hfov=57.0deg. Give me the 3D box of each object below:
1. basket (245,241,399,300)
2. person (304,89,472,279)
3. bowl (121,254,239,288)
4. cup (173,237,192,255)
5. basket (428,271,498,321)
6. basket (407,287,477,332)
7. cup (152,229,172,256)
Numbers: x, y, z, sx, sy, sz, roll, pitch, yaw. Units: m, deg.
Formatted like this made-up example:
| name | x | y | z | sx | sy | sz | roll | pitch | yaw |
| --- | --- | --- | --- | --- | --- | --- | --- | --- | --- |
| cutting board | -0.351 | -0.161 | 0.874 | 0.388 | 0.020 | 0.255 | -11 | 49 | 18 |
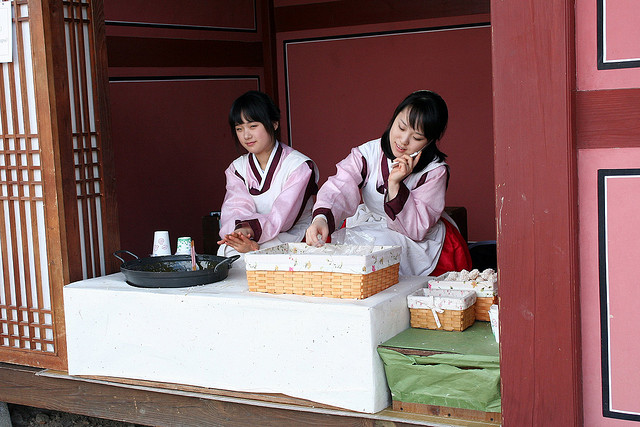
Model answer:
| name | x | y | z | sx | sy | sz | roll | pitch | yaw |
| --- | --- | --- | --- | --- | --- | --- | --- | --- | --- |
| basket | 0.020 | 0.249 | 2.714 | 0.664 | 0.204 | 0.367 | 0 | 3 | 16 |
| person | 0.452 | -0.153 | 3.381 | 1.000 | 1.048 | 0.679 | -1 | 3 | -6 |
| bowl | -0.711 | 0.280 | 2.913 | 0.489 | 0.117 | 0.387 | 0 | 3 | 25 |
| cup | -0.733 | 0.183 | 3.206 | 0.094 | 0.076 | 0.075 | -2 | 1 | -4 |
| basket | 0.719 | 0.339 | 2.725 | 0.255 | 0.130 | 0.191 | 1 | 5 | 30 |
| basket | 0.551 | 0.425 | 2.643 | 0.256 | 0.159 | 0.217 | 1 | 4 | 30 |
| cup | -0.861 | 0.170 | 3.245 | 0.109 | 0.154 | 0.106 | 0 | 2 | 0 |
